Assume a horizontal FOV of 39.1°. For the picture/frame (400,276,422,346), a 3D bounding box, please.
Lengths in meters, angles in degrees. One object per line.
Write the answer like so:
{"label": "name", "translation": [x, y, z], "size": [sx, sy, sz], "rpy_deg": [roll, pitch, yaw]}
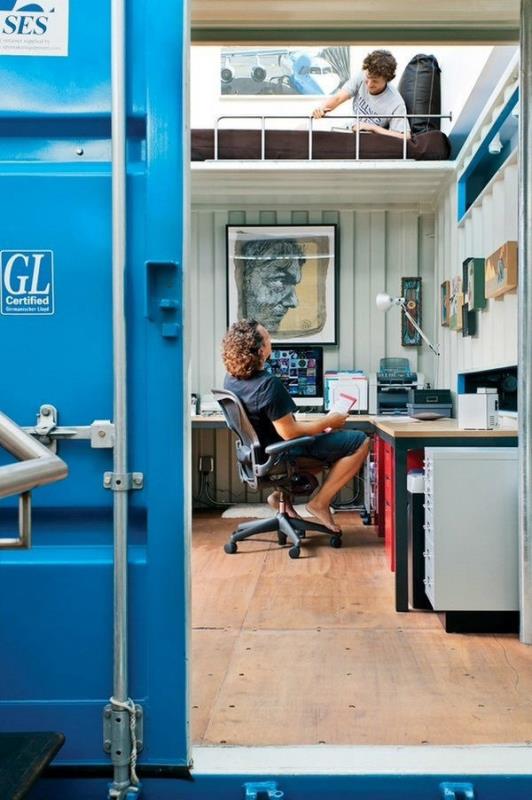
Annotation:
{"label": "picture/frame", "translation": [0.977, -0.604, 5.045], "size": [0.081, 0.412, 0.196], "rpy_deg": [2, -2, -38]}

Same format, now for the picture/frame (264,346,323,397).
{"label": "picture/frame", "translation": [0.192, -0.191, 5.081], "size": [0.343, 0.397, 0.032], "rpy_deg": [1, -28, 0]}

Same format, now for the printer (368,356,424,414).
{"label": "printer", "translation": [0.801, -0.105, 4.864], "size": [0.311, 0.485, 0.376], "rpy_deg": [0, -5, 1]}

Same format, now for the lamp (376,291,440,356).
{"label": "lamp", "translation": [0.903, -0.474, 4.728], "size": [0.356, 0.397, 0.788], "rpy_deg": [-1, 3, 13]}

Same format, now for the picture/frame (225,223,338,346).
{"label": "picture/frame", "translation": [0.110, -0.806, 4.961], "size": [0.812, 0.991, 0.035], "rpy_deg": [0, 1, -2]}

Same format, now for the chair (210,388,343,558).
{"label": "chair", "translation": [0.046, 0.336, 3.665], "size": [0.520, 0.786, 0.553], "rpy_deg": [-4, 1, -27]}

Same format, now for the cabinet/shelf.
{"label": "cabinet/shelf", "translation": [0.658, 0.441, 2.715], "size": [0.397, 0.845, 0.462], "rpy_deg": [0, -2, 11]}

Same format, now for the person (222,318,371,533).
{"label": "person", "translation": [0.123, 0.135, 3.756], "size": [0.628, 1.107, 0.624], "rpy_deg": [-7, 5, -10]}
